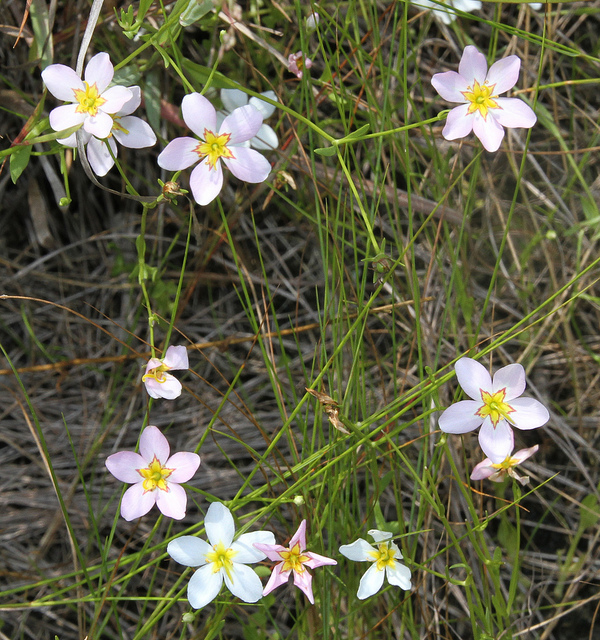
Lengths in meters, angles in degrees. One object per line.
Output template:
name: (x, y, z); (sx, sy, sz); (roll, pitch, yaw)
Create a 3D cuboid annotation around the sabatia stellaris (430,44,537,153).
sabatia stellaris: (0.359, -0.440, 1.322); (0.196, 0.137, 0.246); (4, 60, -5)

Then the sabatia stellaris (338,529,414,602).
sabatia stellaris: (0.175, 0.489, 1.353); (0.121, 0.071, 0.152); (-28, 53, -28)

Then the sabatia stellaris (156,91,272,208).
sabatia stellaris: (-0.177, -0.338, 1.285); (0.204, 0.139, 0.181); (-15, 62, -15)

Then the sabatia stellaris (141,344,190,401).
sabatia stellaris: (-0.278, 0.110, 1.365); (0.048, 0.104, 0.102); (20, 14, 37)

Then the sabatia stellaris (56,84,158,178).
sabatia stellaris: (-0.388, -0.398, 1.399); (0.187, 0.201, 0.060); (27, 20, -3)

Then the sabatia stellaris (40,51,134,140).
sabatia stellaris: (-0.437, -0.492, 1.355); (0.144, 0.165, 0.069); (8, 81, 18)

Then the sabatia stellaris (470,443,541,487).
sabatia stellaris: (0.418, 0.298, 1.359); (0.146, 0.160, 0.080); (-5, 72, 2)

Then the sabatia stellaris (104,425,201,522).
sabatia stellaris: (-0.288, 0.294, 1.270); (0.163, 0.062, 0.208); (15, 100, -12)

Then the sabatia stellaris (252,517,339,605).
sabatia stellaris: (-0.008, 0.457, 1.218); (0.164, 0.154, 0.092); (-1, 94, -9)
